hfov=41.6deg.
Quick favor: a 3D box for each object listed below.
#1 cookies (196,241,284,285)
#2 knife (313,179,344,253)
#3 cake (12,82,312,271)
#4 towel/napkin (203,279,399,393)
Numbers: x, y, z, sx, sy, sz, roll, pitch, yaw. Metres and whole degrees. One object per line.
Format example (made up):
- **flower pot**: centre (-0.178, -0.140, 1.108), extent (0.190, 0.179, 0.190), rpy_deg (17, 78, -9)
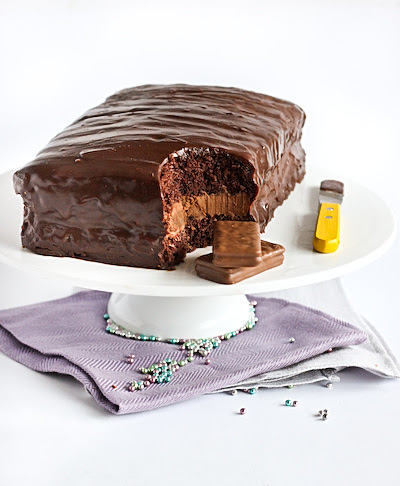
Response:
- **cookies**: centre (0.085, 0.069, 1.470), extent (0.126, 0.041, 0.236), rpy_deg (10, 21, 29)
- **knife**: centre (0.468, -0.116, 1.917), extent (0.105, 0.047, 0.468), rpy_deg (8, 34, 12)
- **cake**: centre (-0.117, -0.303, 1.930), extent (0.783, 0.597, 0.976), rpy_deg (7, 15, 24)
- **towel/napkin**: centre (0.476, 0.333, 1.847), extent (0.430, 0.052, 0.392), rpy_deg (-12, 27, -20)
